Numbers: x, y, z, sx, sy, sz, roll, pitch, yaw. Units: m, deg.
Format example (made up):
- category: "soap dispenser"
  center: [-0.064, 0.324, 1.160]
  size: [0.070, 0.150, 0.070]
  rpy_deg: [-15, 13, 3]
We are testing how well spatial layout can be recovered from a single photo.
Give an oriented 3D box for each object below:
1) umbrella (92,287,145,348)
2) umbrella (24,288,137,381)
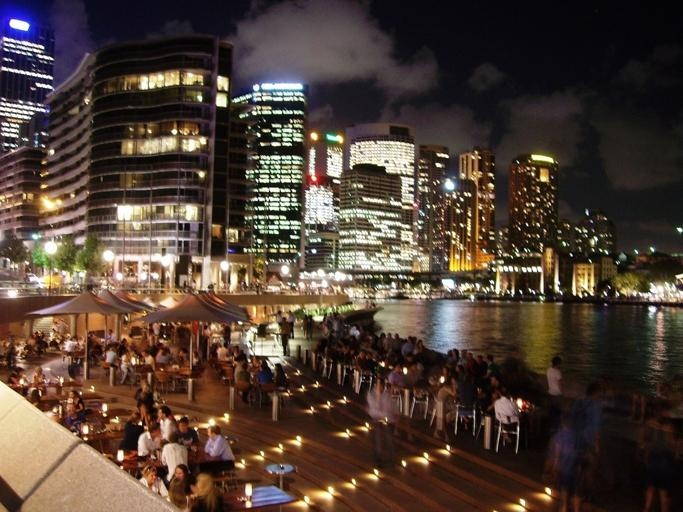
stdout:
- category: "umbrella"
  center: [-9.703, 2.253, 29.120]
  size: [2.403, 1.638, 2.428]
  rpy_deg: [-6, 11, -30]
- category: "umbrella"
  center: [-10.329, 3.080, 27.884]
  size: [3.981, 3.541, 4.434]
  rpy_deg: [0, -3, 20]
